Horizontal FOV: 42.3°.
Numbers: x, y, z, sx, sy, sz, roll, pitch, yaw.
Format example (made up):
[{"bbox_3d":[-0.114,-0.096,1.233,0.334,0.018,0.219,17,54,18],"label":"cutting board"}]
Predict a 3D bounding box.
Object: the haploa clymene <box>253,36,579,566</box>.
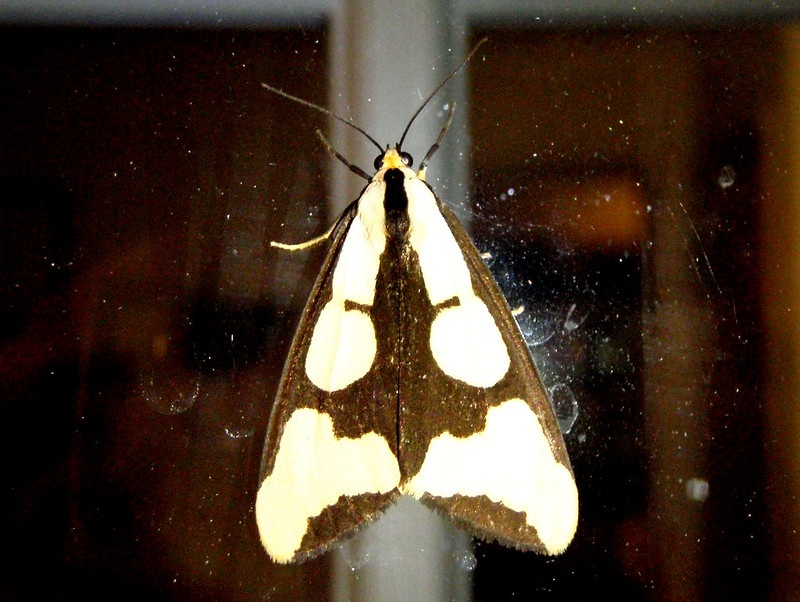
[{"bbox_3d":[0.070,0.062,3.862,0.950,0.423,2.051,-1,89,10],"label":"haploa clymene"}]
